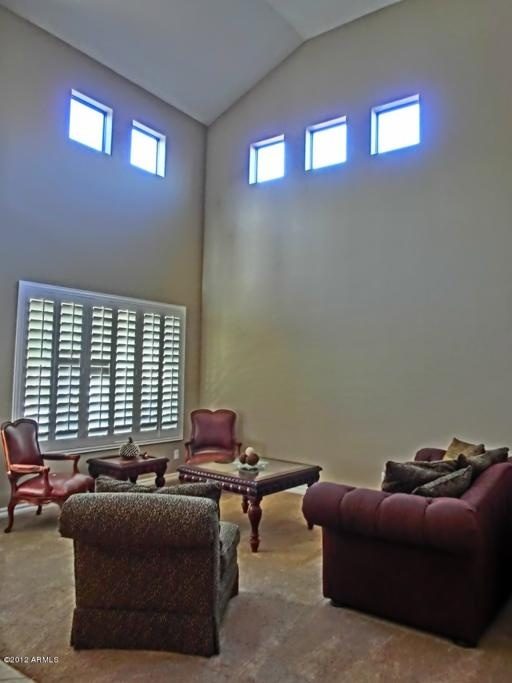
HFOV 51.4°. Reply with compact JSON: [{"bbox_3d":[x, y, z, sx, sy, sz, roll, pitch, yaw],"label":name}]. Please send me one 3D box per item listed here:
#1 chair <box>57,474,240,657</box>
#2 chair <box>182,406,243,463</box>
[{"bbox_3d":[-0.443,0.968,2.448,0.578,0.596,0.719,0,-6,4],"label":"chair"},{"bbox_3d":[-0.437,0.925,5.317,0.464,0.637,0.460,0,-16,-2],"label":"chair"}]
